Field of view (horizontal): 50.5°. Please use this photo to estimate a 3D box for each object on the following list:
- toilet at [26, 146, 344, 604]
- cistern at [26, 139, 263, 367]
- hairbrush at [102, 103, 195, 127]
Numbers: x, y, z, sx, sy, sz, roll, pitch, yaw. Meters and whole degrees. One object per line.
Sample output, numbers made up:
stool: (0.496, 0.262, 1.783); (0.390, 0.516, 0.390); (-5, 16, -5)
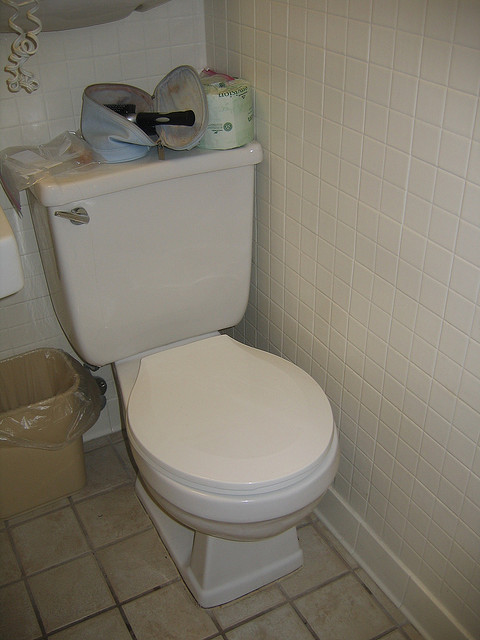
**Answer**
toilet: (-0.100, 0.107, 1.084); (0.419, 0.833, 0.804); (-18, 31, -28)
cistern: (-0.225, -0.224, 1.177); (0.523, 0.508, 0.364); (-21, 52, -25)
hairbrush: (-0.184, -0.403, 1.007); (0.211, 0.044, 0.085); (16, 35, 30)
